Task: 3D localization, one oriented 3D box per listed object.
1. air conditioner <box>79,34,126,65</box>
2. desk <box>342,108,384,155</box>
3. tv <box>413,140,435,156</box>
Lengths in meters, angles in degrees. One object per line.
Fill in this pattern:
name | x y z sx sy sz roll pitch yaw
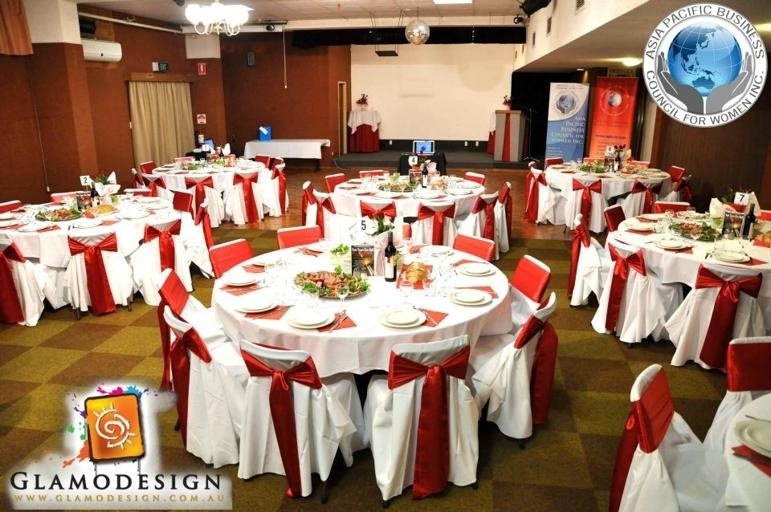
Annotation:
air conditioner | -5.802 -4.211 11.001 1.093 0.597 0.411 0 -5 31
desk | -0.759 -4.287 18.261 1.199 1.323 1.223 -8 13 -30
tv | 0.664 -1.933 9.200 0.419 0.321 0.298 4 3 4
